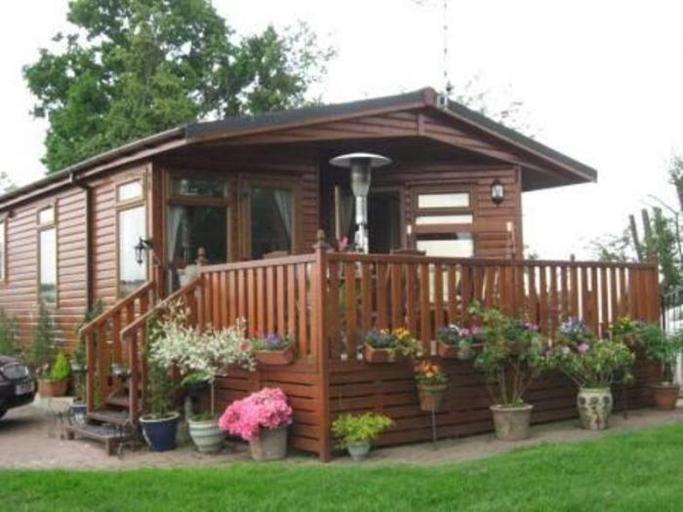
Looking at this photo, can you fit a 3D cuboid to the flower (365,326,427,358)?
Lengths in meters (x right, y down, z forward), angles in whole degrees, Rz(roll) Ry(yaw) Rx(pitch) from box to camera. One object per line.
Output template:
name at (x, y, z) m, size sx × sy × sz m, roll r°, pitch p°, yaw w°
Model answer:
flower at (0.733, 1.211, 9.816) m, size 0.547 × 0.273 × 0.479 m, roll 7°, pitch -5°, yaw -21°

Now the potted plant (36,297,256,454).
potted plant at (-2.823, 1.781, 10.796) m, size 3.473 × 2.330 × 1.537 m, roll -8°, pitch -9°, yaw 38°

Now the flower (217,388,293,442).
flower at (-1.230, 2.102, 9.704) m, size 0.651 × 0.602 × 0.875 m, roll -3°, pitch -4°, yaw -31°

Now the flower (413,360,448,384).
flower at (1.243, 1.675, 10.060) m, size 0.311 × 0.305 × 0.393 m, roll 1°, pitch 0°, yaw 4°

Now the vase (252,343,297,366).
vase at (-0.960, 1.405, 9.810) m, size 0.410 × 0.174 × 0.336 m, roll -2°, pitch -1°, yaw 18°

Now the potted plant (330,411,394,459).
potted plant at (0.272, 2.445, 9.532) m, size 0.850 × 0.605 × 0.525 m, roll -1°, pitch -7°, yaw -11°

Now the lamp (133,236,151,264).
lamp at (-3.685, -0.125, 12.822) m, size 0.272 × 0.457 × 0.757 m, roll 1°, pitch -8°, yaw -24°

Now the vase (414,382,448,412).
vase at (1.267, 1.980, 10.020) m, size 0.412 × 0.406 × 0.381 m, roll 5°, pitch -7°, yaw -23°

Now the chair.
chair at (0.867, 0.447, 10.644) m, size 0.858 × 1.274 × 1.615 m, roll -2°, pitch -7°, yaw 3°

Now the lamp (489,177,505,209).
lamp at (3.248, -1.339, 14.519) m, size 0.322 × 0.545 × 0.196 m, roll -2°, pitch -7°, yaw 1°

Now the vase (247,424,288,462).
vase at (-1.004, 2.594, 9.571) m, size 0.436 × 0.355 × 0.447 m, roll -2°, pitch -3°, yaw 39°
